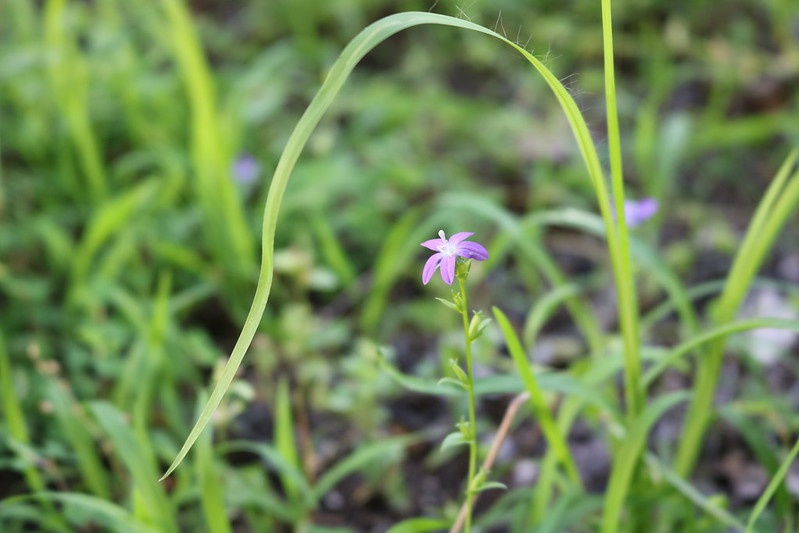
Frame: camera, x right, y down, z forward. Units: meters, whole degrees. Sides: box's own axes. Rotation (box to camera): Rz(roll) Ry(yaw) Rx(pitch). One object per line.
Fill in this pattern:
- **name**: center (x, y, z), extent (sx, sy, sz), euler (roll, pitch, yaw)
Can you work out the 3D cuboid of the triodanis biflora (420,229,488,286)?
- **triodanis biflora**: center (0.113, -0.017, 1.692), extent (0.127, 0.102, 0.063), euler (0, 8, 2)
